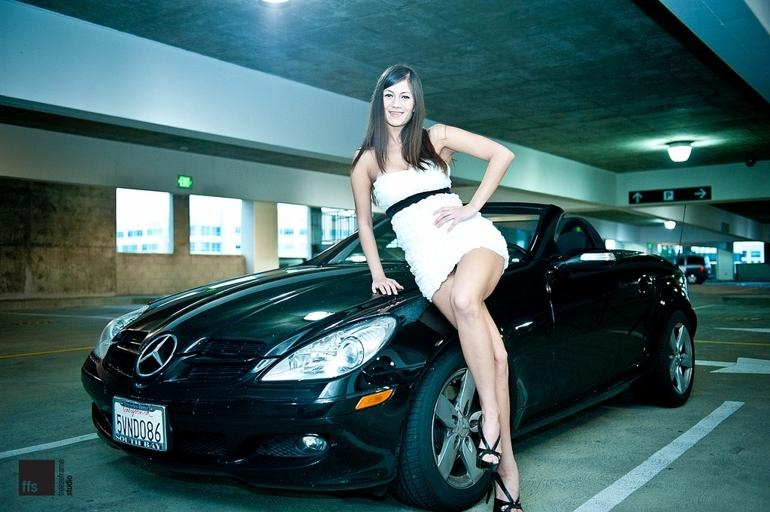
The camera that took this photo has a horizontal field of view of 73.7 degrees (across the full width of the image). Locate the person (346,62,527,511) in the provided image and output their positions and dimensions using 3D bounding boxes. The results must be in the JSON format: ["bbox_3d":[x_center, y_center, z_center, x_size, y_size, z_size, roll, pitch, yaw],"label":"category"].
[{"bbox_3d":[0.329,0.102,2.790,0.988,2.284,0.493,4,12,43],"label":"person"}]

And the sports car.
[{"bbox_3d":[0.544,0.587,3.584,3.822,1.149,1.849,3,-5,-41],"label":"sports car"}]

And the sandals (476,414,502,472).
[{"bbox_3d":[0.514,0.968,2.579,0.126,0.345,0.098,0,-20,-4],"label":"sandals"}]

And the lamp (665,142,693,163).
[{"bbox_3d":[7.625,-2.687,13.251,0.627,0.423,0.622,-2,-1,30],"label":"lamp"}]
